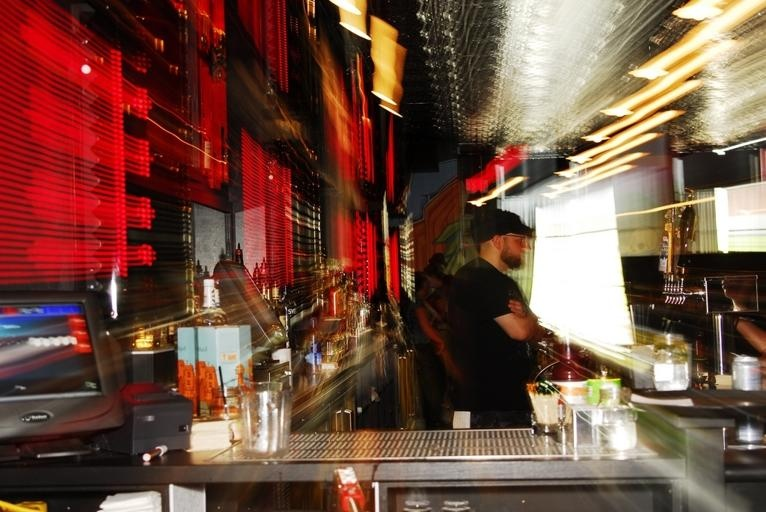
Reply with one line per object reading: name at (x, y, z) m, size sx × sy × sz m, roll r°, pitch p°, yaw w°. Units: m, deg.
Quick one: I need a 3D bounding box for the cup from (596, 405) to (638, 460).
cup at (1.021, 0.716, 2.353) m, size 0.255 × 0.182 × 0.123 m, roll -6°, pitch 10°, yaw -35°

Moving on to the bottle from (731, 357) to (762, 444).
bottle at (1.692, 0.649, 2.583) m, size 0.154 × 0.368 × 0.246 m, roll 5°, pitch 10°, yaw 31°

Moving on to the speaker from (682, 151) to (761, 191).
speaker at (5.758, -1.474, 9.556) m, size 1.134 × 0.653 × 0.488 m, roll 4°, pitch 9°, yaw 30°

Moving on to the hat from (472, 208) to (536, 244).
hat at (1.398, -0.389, 6.752) m, size 0.943 × 0.469 × 0.645 m, roll -5°, pitch 5°, yaw -8°

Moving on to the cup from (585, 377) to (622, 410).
cup at (0.944, 0.587, 2.395) m, size 0.132 × 0.091 × 0.129 m, roll 0°, pitch -12°, yaw 0°

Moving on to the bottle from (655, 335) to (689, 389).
bottle at (1.405, 0.517, 2.715) m, size 0.158 × 0.209 × 0.352 m, roll 4°, pitch 9°, yaw 28°

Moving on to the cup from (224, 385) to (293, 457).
cup at (-0.487, 0.706, 2.481) m, size 0.282 × 0.313 × 0.284 m, roll 0°, pitch -7°, yaw 0°

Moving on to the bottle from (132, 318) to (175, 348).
bottle at (-1.294, 0.436, 3.178) m, size 0.209 × 0.111 × 0.518 m, roll -3°, pitch 8°, yaw -16°
